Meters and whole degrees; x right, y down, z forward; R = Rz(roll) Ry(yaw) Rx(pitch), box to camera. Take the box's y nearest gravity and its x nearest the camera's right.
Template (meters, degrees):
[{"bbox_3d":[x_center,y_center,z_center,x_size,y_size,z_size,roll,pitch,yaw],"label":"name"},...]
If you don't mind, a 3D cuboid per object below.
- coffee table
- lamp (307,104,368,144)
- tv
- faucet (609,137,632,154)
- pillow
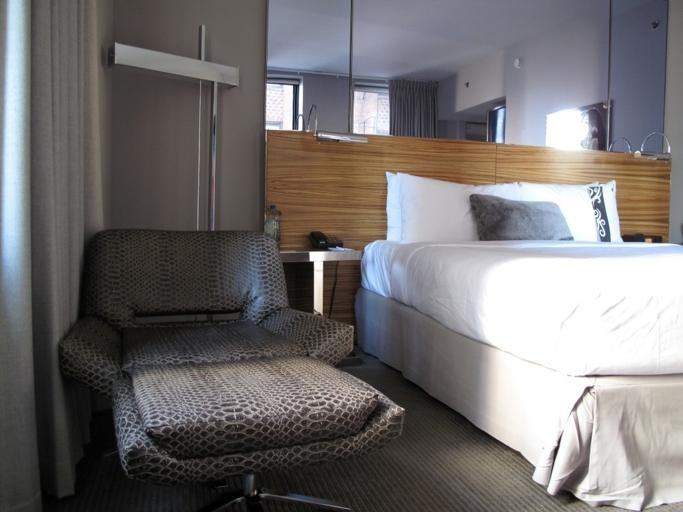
[{"bbox_3d":[-0.119,0.070,2.952,0.384,0.419,0.400,-2,6,-17],"label":"coffee table"},{"bbox_3d":[-0.045,-0.884,3.501,0.441,0.232,0.148,2,10,-3],"label":"lamp"},{"bbox_3d":[1.881,-1.055,4.190,0.439,0.337,0.059,-2,3,-16],"label":"tv"},{"bbox_3d":[2.287,-0.916,4.314,0.152,0.166,0.161,10,48,26],"label":"faucet"},{"bbox_3d":[1.095,-0.343,3.594,1.583,0.446,0.455,0,10,-2],"label":"pillow"}]
